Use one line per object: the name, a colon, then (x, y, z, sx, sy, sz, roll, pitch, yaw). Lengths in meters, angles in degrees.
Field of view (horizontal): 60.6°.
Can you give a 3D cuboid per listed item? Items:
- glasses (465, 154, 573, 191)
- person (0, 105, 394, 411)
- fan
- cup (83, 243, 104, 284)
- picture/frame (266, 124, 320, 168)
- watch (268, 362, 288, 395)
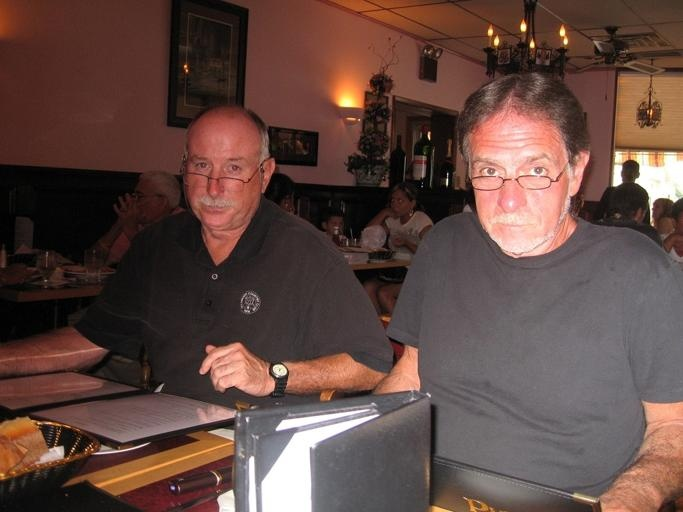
glasses: (0.476, -0.211, 1.575, 0.245, 0.080, 0.092, 6, 12, 18)
person: (-0.402, 0.111, 2.207, 1.579, 1.151, 0.905, 0, -2, 10)
fan: (3.396, -2.526, 7.205, 1.062, 0.360, 1.117, 1, 1, -16)
cup: (-1.620, 0.056, 3.850, 0.135, 0.208, 0.125, 7, 12, -1)
picture/frame: (-0.493, -1.164, 6.271, 0.050, 0.391, 0.708, 6, 8, 38)
watch: (-0.185, 0.360, 1.712, 0.062, 0.078, 0.083, 4, 22, -15)
